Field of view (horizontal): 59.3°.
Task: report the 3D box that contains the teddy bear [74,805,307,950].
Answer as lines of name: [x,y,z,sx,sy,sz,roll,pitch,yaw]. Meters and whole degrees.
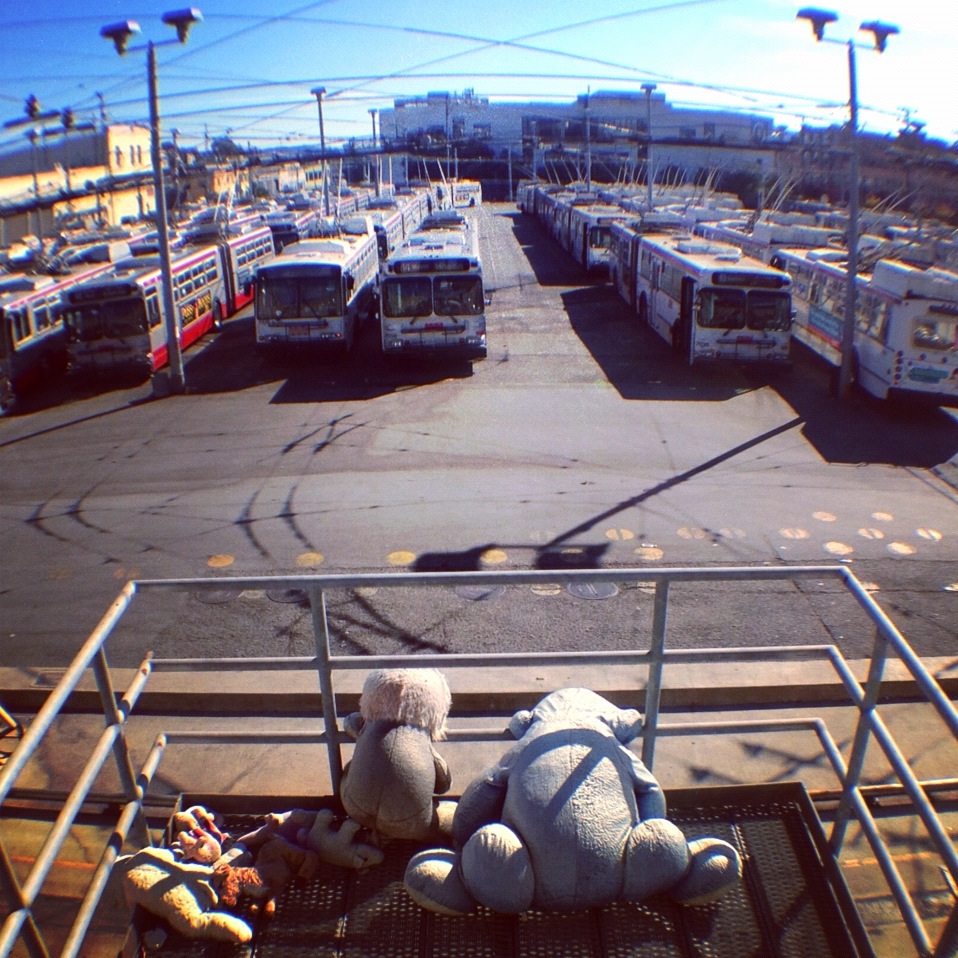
teddy bear: [-1.208,1.783,3.942,0.792,0.275,0.729,6,15,28]

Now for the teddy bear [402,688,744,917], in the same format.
teddy bear: [0.385,1.483,3.789,1.404,0.642,0.731,-2,14,-1]
